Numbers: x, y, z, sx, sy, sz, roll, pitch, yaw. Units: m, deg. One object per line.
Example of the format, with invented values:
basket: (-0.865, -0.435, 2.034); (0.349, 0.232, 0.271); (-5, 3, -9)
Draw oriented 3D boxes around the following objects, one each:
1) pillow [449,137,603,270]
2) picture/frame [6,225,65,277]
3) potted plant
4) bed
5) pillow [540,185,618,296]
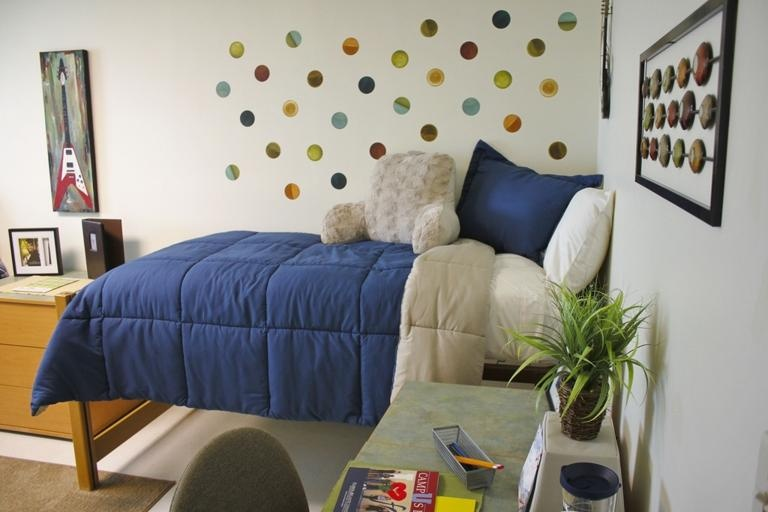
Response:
pillow: (0.764, -0.264, 2.939); (0.220, 0.540, 0.595); (8, 11, -44)
picture/frame: (-2.203, -0.027, 3.592); (0.323, 0.355, 0.023); (0, 4, -11)
potted plant: (0.606, 0.292, 1.726); (0.463, 0.443, 0.481); (0, 6, -5)
bed: (-0.517, 0.316, 2.723); (1.881, 0.734, 1.371); (3, 15, 10)
pillow: (0.867, -0.051, 2.492); (0.417, 0.337, 0.632); (-15, 4, 16)
